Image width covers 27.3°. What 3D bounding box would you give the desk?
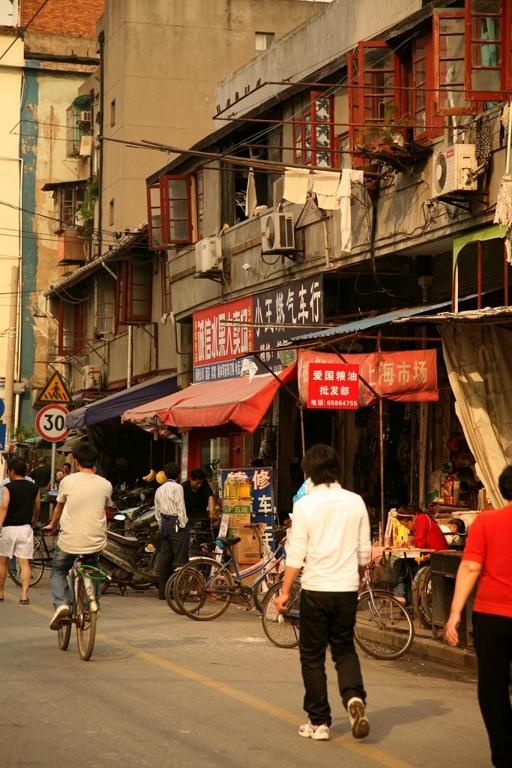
[{"bbox_3d":[1.421,2.123,10.982,0.548,0.952,0.500,12,-8,-5],"label":"desk"}]

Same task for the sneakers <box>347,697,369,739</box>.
[{"bbox_3d":[0.499,1.619,5.112,0.081,0.245,0.106,-5,-15,-5],"label":"sneakers"}]

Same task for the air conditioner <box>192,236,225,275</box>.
[{"bbox_3d":[-0.834,-2.372,19.399,0.407,0.707,0.601,0,-3,-20],"label":"air conditioner"}]

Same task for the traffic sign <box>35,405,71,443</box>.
[{"bbox_3d":[-3.452,0.651,17.721,0.502,0.636,0.408,0,-3,-16],"label":"traffic sign"}]

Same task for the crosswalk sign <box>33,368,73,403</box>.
[{"bbox_3d":[-5.372,-0.021,27.853,1.173,1.233,0.102,3,-4,-14],"label":"crosswalk sign"}]

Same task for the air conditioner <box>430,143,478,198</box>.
[{"bbox_3d":[2.105,-2.270,11.256,0.233,0.529,0.557,-2,0,-17],"label":"air conditioner"}]

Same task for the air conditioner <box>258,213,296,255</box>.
[{"bbox_3d":[0.318,-2.246,16.280,0.518,0.808,0.850,2,-5,-16],"label":"air conditioner"}]

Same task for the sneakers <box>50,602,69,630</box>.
[{"bbox_3d":[-1.516,1.782,8.098,0.103,0.123,0.315,10,-48,-17],"label":"sneakers"}]

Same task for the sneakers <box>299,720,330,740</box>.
[{"bbox_3d":[0.299,1.772,5.431,0.068,0.094,0.190,-1,-1,-28],"label":"sneakers"}]

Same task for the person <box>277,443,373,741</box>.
[{"bbox_3d":[0.350,1.081,5.501,0.499,1.529,0.792,-1,-3,5],"label":"person"}]

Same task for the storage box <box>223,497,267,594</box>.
[{"bbox_3d":[-0.137,1.804,12.359,0.548,1.124,0.552,4,-8,-33],"label":"storage box"}]

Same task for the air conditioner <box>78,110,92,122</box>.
[{"bbox_3d":[-5.858,-9.160,36.092,0.409,0.465,0.431,0,-3,-10],"label":"air conditioner"}]

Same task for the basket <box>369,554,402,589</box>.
[{"bbox_3d":[1.327,1.968,11.185,0.331,0.483,0.335,2,-2,-14],"label":"basket"}]
